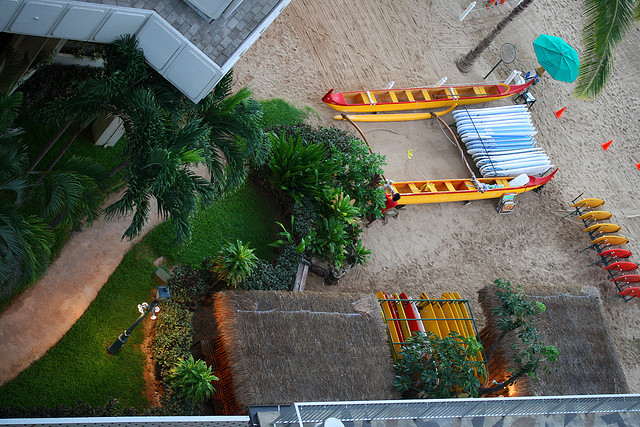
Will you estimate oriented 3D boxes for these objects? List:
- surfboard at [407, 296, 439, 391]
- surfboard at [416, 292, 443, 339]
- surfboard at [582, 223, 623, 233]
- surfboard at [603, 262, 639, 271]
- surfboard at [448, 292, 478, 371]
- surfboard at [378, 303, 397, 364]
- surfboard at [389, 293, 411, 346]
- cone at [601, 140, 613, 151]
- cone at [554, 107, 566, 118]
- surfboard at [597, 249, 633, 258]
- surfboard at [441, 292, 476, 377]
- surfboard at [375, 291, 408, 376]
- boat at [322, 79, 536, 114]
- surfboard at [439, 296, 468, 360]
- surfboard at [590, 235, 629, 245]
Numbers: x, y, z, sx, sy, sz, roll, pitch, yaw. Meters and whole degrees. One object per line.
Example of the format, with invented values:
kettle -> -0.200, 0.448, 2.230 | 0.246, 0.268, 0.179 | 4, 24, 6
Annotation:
surfboard -> 3.263, 3.857, 17.359 | 0.362, 0.216, 2.138 | -16, 69, 4
surfboard -> 3.604, 3.405, 18.312 | 0.408, 0.251, 1.825 | -23, 66, 12
surfboard -> 12.012, 0.652, 23.642 | 1.323, 0.627, 0.301 | -1, 72, -1
surfboard -> 12.545, 2.177, 22.769 | 1.732, 0.408, 0.177 | -3, 26, 18
surfboard -> 4.715, 3.548, 18.003 | 0.335, 0.203, 1.949 | -32, 74, 23
surfboard -> 2.034, 3.694, 16.809 | 0.263, 0.041, 1.775 | -23, 81, -1
surfboard -> 2.640, 3.400, 17.986 | 0.333, 0.193, 1.717 | -12, 62, -17
cone -> 13.772, -3.209, 26.551 | 0.458, 0.267, 0.421 | -8, 71, -3
cone -> 11.654, -4.824, 26.791 | 0.587, 0.312, 0.401 | -17, 72, -6
surfboard -> 12.512, 1.645, 22.943 | 1.788, 0.426, 0.442 | -1, 81, 13
surfboard -> 4.505, 3.714, 17.988 | 0.405, 0.215, 2.400 | -9, 72, -13
surfboard -> 2.164, 3.513, 17.461 | 0.262, 2.404, 0.423 | -2, 24, 35
boat -> 4.443, -5.089, 24.323 | 9.048, 1.348, 1.175 | -4, 73, -13
surfboard -> 4.246, 3.384, 18.086 | 0.302, 0.148, 1.344 | -18, 70, -1
surfboard -> 12.155, 1.115, 23.300 | 1.200, 0.768, 0.293 | 2, 72, 1
